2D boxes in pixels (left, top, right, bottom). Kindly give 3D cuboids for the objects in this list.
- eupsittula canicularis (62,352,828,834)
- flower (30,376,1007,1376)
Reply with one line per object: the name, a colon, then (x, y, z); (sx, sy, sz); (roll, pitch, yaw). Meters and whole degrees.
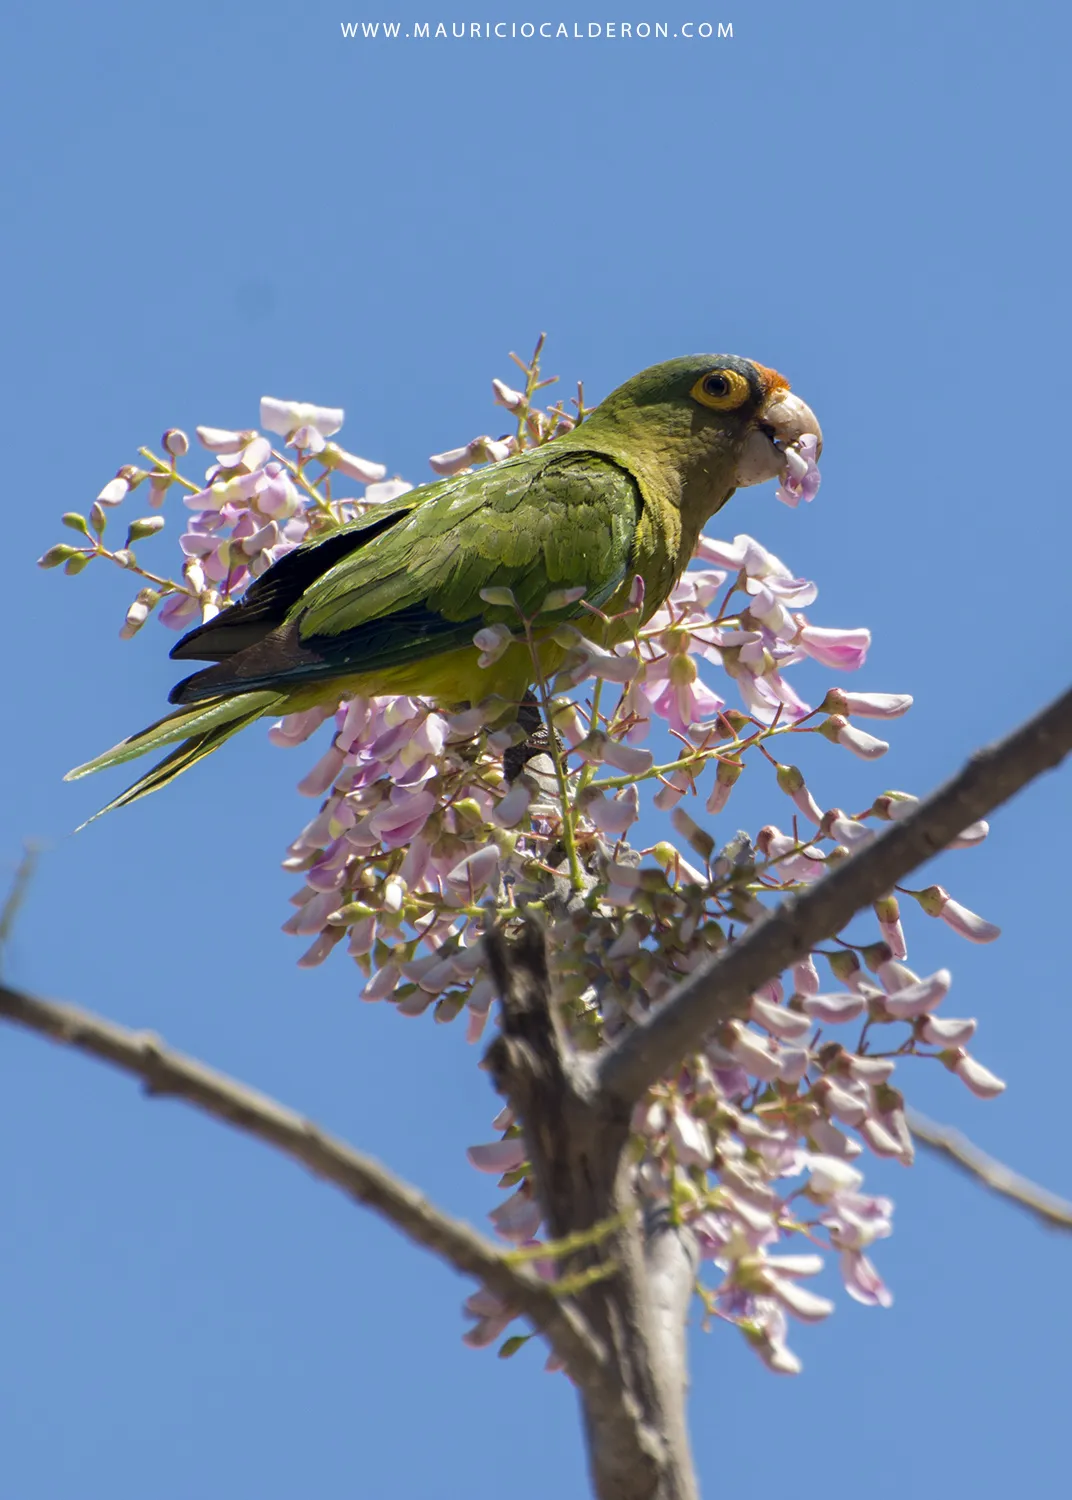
eupsittula canicularis: (-0.178, -0.305, 5.715); (1.349, 0.749, 0.446); (-4, -9, 3)
flower: (0.010, -0.005, 5.255); (1.403, 2.332, 0.810); (23, -51, -12)
